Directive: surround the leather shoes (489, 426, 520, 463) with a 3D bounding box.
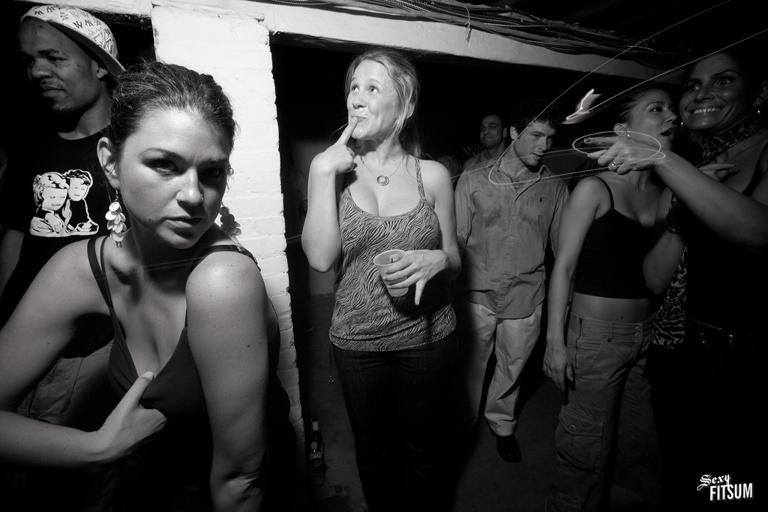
[{"bbox_3d":[0.556,0.862,2.744,0.070,0.066,0.157,-14,31,-11],"label":"leather shoes"}]

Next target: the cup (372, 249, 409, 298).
[{"bbox_3d":[0.025,0.056,2.310,0.119,0.128,0.113,-20,26,10],"label":"cup"}]

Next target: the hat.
[{"bbox_3d":[-1.071,-0.754,2.106,0.343,0.215,0.096,5,14,1],"label":"hat"}]
